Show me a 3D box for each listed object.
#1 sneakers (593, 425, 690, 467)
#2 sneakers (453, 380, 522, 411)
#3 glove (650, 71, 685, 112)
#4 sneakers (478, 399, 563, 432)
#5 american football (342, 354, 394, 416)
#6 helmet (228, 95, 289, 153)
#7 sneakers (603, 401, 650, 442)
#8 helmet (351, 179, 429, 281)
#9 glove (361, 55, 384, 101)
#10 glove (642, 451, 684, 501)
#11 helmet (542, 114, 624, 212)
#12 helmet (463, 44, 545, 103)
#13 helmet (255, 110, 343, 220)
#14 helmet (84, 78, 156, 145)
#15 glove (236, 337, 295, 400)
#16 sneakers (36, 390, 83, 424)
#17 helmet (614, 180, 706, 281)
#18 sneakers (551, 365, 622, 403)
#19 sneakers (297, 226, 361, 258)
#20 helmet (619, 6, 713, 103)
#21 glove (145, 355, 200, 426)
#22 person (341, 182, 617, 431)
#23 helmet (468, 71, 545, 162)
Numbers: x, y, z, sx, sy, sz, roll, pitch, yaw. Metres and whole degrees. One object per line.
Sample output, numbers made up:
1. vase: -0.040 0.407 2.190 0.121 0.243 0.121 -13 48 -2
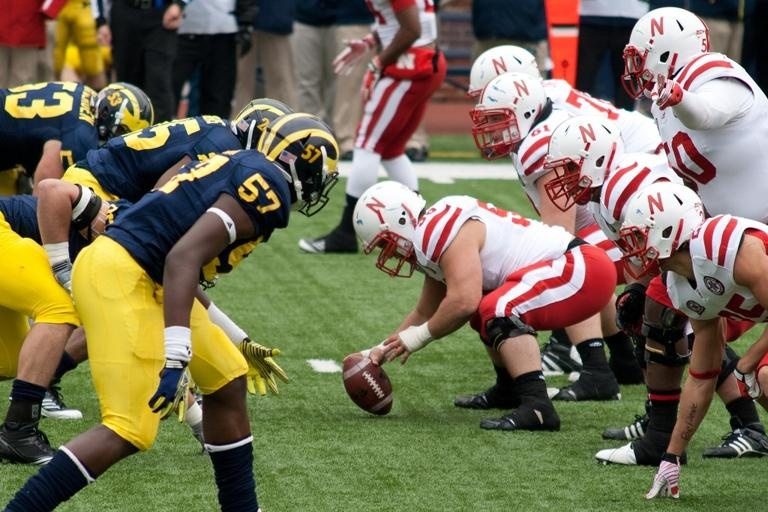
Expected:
1. sneakers: 1.124 0.841 4.442 0.414 0.164 0.141 -10 -24 35
2. sneakers: 0.528 0.685 5.055 0.366 0.169 0.127 2 0 2
3. glove: 1.181 -0.685 4.318 0.145 0.108 0.188 12 17 35
4. sneakers: 0.653 0.748 4.759 0.407 0.192 0.143 3 0 8
5. american football: -0.071 0.596 4.836 0.287 0.188 0.181 48 -9 13
6. helmet: -0.531 -0.592 4.371 0.262 0.218 0.199 2 36 -11
7. sneakers: 1.132 0.762 4.632 0.260 0.185 0.090 1 -23 12
8. helmet: 0.055 -0.152 4.988 0.444 0.394 0.349 23 8 15
9. glove: -0.025 -1.167 6.775 0.087 0.266 0.188 14 -1 -20
10. glove: 1.122 0.913 4.143 0.176 0.079 0.059 -18 -9 24
11. helmet: 0.963 -0.435 4.846 0.396 0.431 0.313 -3 5 10
12. helmet: 0.689 -1.008 5.784 0.430 0.359 0.327 -9 3 -8
13. helmet: -0.355 -0.374 4.145 0.317 0.390 0.386 23 16 28
14. helmet: -1.326 -0.770 5.306 0.335 0.313 0.271 14 15 -7
15. glove: -0.530 0.519 4.590 0.289 0.197 0.093 33 13 16
16. sneakers: -1.452 0.698 4.687 0.271 0.138 0.097 4 4 5
17. helmet: 1.132 -0.120 4.130 0.353 0.348 0.286 -9 7 13
18. sneakers: 1.025 0.639 5.092 0.406 0.183 0.142 1 3 3
19. sneakers: -0.383 -0.077 7.228 0.445 0.200 0.163 1 3 -5
20. helmet: 1.293 -0.931 4.716 0.408 0.420 0.354 2 11 14
21. glove: -0.764 0.494 3.718 0.150 0.235 0.089 5 -10 27
22. person: 0.486 0.227 4.998 1.264 1.145 0.851 -2 -1 0
23. helmet: 0.669 -0.763 5.396 0.419 0.422 0.340 -17 15 -19
